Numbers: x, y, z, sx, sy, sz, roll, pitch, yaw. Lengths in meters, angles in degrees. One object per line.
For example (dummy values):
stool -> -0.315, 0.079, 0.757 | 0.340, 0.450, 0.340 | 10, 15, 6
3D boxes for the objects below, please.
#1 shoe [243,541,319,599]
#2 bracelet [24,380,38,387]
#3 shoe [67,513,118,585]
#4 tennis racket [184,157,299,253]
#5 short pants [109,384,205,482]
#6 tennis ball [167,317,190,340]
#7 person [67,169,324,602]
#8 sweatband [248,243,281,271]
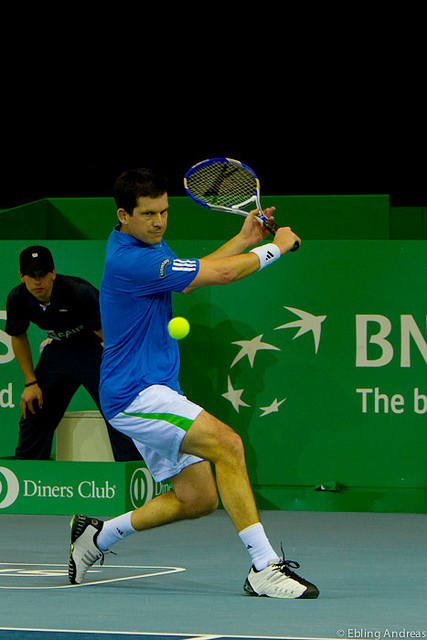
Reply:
shoe -> 0.198, 0.788, 2.027 | 0.103, 0.135, 0.274 | 26, -30, -38
bracelet -> -1.060, 0.371, 3.847 | 0.039, 0.009, 0.040 | -33, -7, 22
shoe -> -0.454, 0.803, 2.353 | 0.141, 0.228, 0.171 | -5, -9, -14
tennis racket -> 0.090, -0.563, 2.960 | 0.296, 0.729, 0.058 | -43, -27, -19
short pants -> -0.170, 0.379, 2.236 | 0.384, 0.320, 0.219 | -12, -10, 29
tennis ball -> -0.131, 0.029, 2.403 | 0.076, 0.083, 0.072 | 0, -12, 0
person -> -0.147, 0.209, 2.283 | 0.857, 1.451, 0.444 | -13, -11, 31
sweatband -> 0.180, -0.222, 2.290 | 0.112, 0.041, 0.068 | -37, 43, -18
